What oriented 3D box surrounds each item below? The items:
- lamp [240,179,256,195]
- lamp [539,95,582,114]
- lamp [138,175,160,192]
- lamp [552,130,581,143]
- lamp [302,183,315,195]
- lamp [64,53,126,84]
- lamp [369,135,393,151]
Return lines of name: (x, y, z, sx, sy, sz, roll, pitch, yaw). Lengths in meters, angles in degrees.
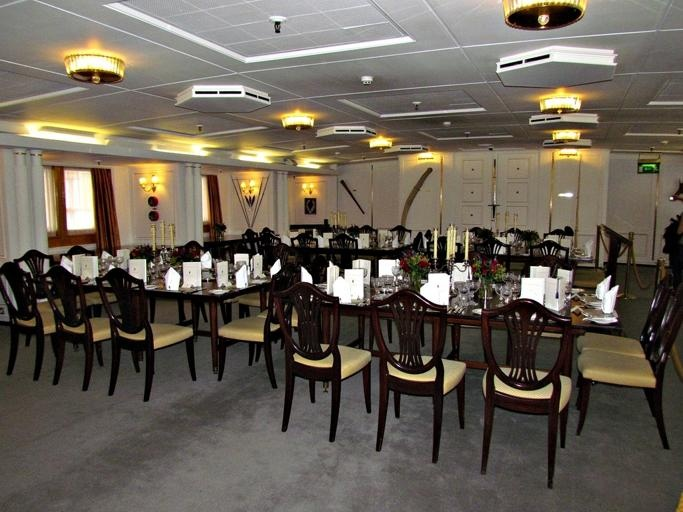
lamp: (-2.886, -2.133, 14.815, 0.575, 0.464, 0.118, 3, 9, 35)
lamp: (3.258, -2.274, 7.181, 0.349, 0.121, 0.342, -7, 10, -30)
lamp: (-4.908, -1.867, 12.184, 0.453, 0.398, 0.236, -2, -2, 21)
lamp: (4.723, -2.512, 9.966, 0.489, 0.183, 0.905, 1, 7, 28)
lamp: (-1.187, -2.482, 17.464, 0.449, 0.412, 0.137, -1, -1, 24)
lamp: (-2.780, -2.070, 5.379, 0.626, 0.209, 0.607, -2, 7, 6)
lamp: (0.953, -2.631, 11.105, 0.518, 0.211, 0.957, -1, 6, 6)
